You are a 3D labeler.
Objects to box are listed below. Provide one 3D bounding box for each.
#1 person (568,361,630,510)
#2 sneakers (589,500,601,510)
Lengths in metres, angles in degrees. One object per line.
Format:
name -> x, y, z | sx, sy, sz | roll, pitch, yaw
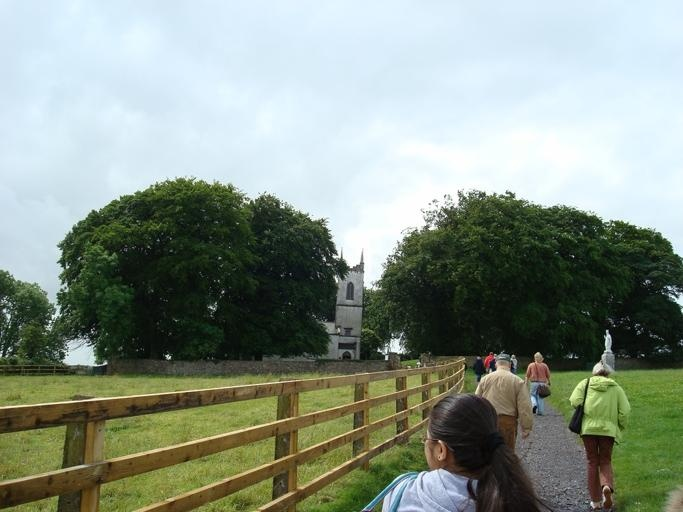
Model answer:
person -> 3.497, 2.373, 7.202 | 0.747, 1.867, 0.714 | -5, -14, 28
sneakers -> 3.255, 3.181, 6.832 | 0.080, 0.114, 0.118 | 5, 13, 11
